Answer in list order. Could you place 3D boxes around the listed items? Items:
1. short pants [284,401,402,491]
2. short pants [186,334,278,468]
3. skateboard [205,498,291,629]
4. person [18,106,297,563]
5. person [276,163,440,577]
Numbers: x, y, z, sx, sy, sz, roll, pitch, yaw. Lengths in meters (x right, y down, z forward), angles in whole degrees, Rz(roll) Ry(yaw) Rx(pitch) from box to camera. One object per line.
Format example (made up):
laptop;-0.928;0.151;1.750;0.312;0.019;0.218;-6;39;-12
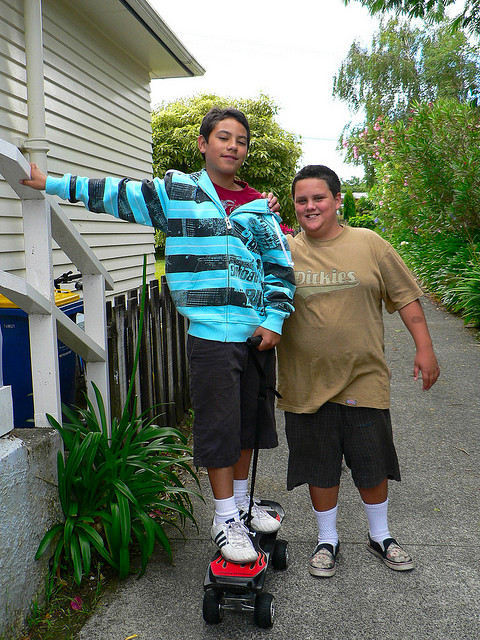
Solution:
short pants;0.422;0.473;2.035;0.486;0.577;0.210;-6;38;6
short pants;-0.047;0.281;1.806;0.282;0.470;0.191;-3;2;-21
skateboard;0.038;0.898;1.818;0.218;0.216;0.562;-1;4;11
person;-0.214;0.029;1.754;0.949;1.654;0.594;-1;-3;-11
person;0.464;0.177;2.003;0.619;1.628;0.278;-2;2;0
